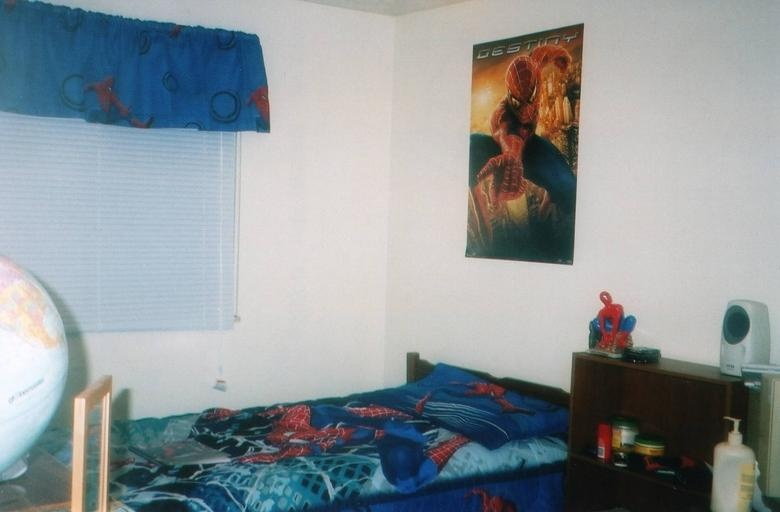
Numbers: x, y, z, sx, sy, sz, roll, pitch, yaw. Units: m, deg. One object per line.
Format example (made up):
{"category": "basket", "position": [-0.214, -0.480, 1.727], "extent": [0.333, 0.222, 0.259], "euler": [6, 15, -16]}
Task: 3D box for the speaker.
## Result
{"category": "speaker", "position": [1.756, 0.410, 2.786], "extent": [0.207, 0.354, 0.207], "euler": [6, 14, 24]}
